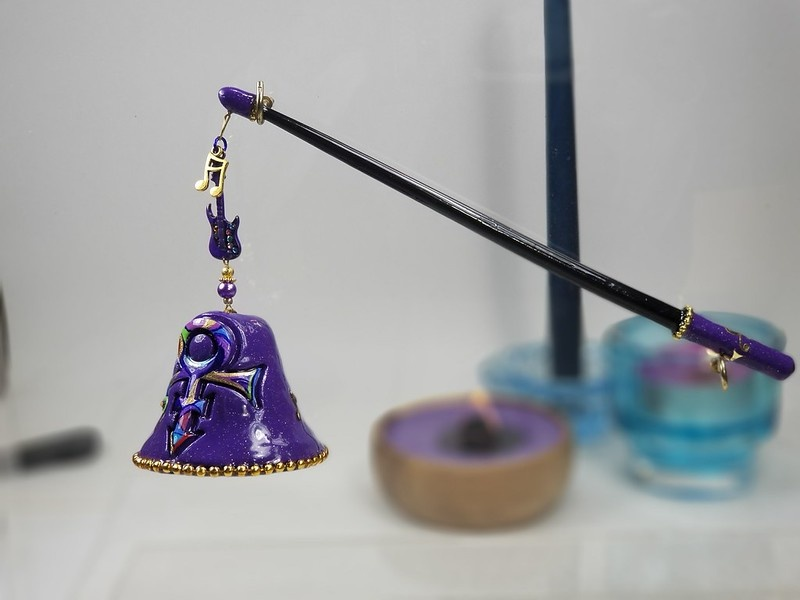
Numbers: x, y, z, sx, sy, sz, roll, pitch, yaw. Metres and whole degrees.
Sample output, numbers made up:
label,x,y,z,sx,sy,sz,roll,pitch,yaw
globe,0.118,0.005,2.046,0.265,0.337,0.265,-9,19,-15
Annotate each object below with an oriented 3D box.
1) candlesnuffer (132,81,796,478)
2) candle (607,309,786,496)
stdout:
label,x,y,z,sx,sy,sz,roll,pitch,yaw
candlesnuffer,0.017,-0.061,1.645,0.749,0.437,0.294,-7,18,-8
candle,0.474,0.160,1.824,0.231,0.204,0.246,-6,15,-23
